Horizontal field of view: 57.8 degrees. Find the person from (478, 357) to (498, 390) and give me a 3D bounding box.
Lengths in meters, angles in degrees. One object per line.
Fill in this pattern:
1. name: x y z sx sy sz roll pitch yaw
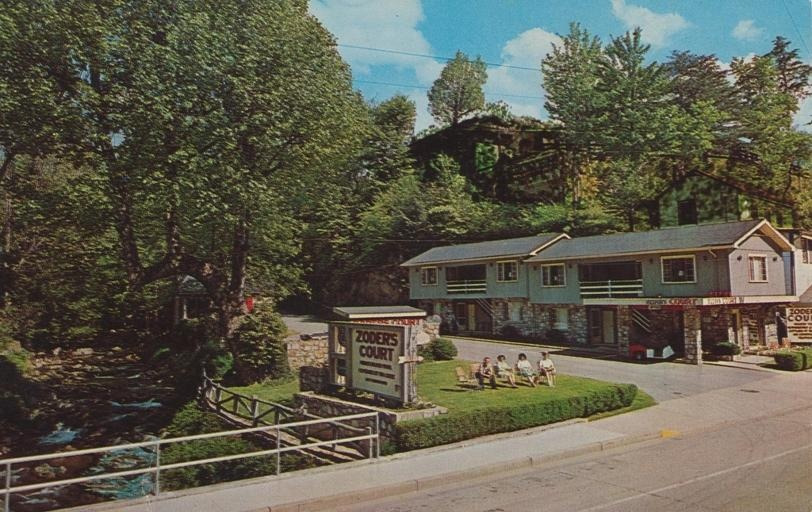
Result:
1. person: 5.221 7.543 47.462 1.142 1.937 1.458 -2 -7 17
